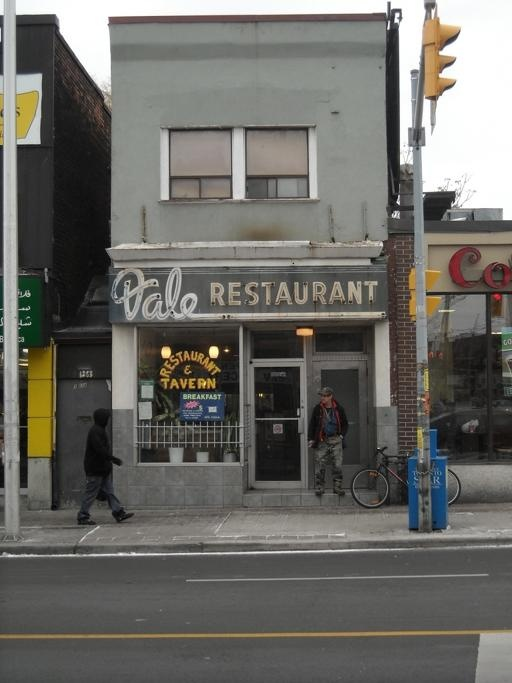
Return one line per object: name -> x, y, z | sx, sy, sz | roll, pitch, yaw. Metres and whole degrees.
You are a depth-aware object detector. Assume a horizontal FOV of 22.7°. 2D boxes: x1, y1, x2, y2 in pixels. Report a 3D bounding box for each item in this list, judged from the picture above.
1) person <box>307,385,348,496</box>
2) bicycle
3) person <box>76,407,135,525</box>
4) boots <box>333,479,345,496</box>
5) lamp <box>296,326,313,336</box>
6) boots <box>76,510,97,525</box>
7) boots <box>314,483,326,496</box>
person -> 1.079, 1.531, 19.339 | 0.590, 1.636, 0.356 | -1, -6, 3
bicycle -> 2.262, 2.044, 19.286 | 1.632, 0.959, 1.162 | -3, -8, 9
person -> -2.118, 1.747, 17.812 | 0.649, 1.609, 0.747 | 6, -9, -44
boots -> 1.244, 2.218, 19.292 | 0.160, 0.253, 0.208 | -1, -7, 2
lamp -> 0.767, -0.152, 20.196 | 0.274, 0.146, 0.085 | -2, -7, 3
boots -> -2.355, 2.450, 17.767 | 0.326, 0.300, 0.123 | 1, 2, -12
boots -> 0.956, 2.241, 19.339 | 0.118, 0.223, 0.399 | 0, -7, 4
